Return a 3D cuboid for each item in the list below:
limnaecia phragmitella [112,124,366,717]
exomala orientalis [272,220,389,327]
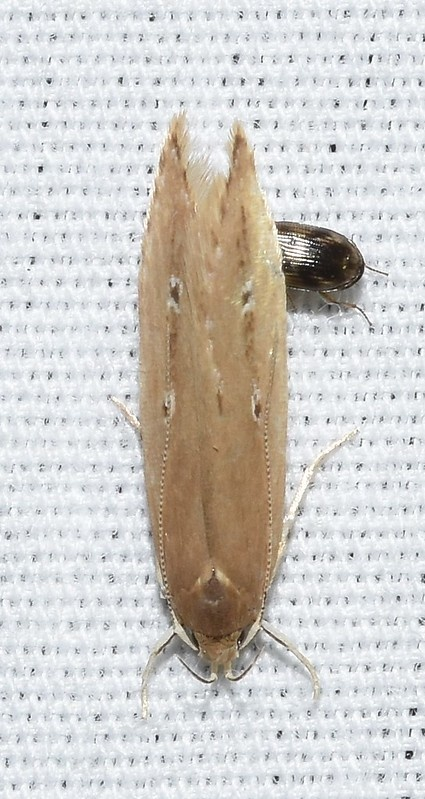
[{"bbox_3d":[0.037,0.004,3.243,0.494,0.346,1.545,-1,85,-1],"label":"limnaecia phragmitella"},{"bbox_3d":[0.323,-0.404,3.375,0.235,0.075,0.219,21,78,-18],"label":"exomala orientalis"}]
